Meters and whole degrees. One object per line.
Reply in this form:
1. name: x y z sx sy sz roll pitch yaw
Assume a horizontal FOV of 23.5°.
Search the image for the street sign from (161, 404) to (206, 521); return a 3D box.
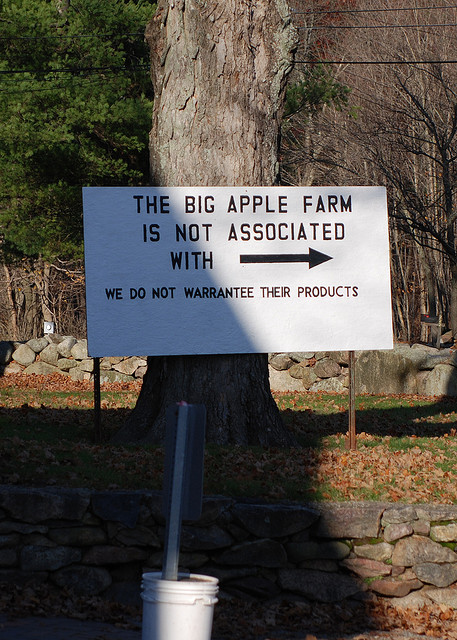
1. street sign: -0.282 0.893 6.976 0.269 0.724 0.296 0 4 -2
